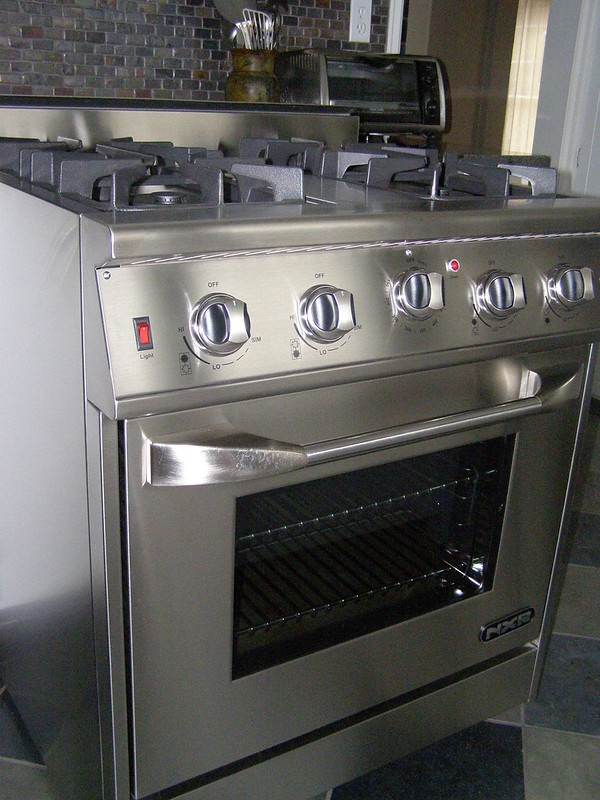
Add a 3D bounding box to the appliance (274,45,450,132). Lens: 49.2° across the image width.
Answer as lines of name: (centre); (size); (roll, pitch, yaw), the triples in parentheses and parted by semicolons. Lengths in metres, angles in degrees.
appliance: (0.234, -1.129, 2.410); (0.693, 0.277, 0.262); (-17, 28, -38)
